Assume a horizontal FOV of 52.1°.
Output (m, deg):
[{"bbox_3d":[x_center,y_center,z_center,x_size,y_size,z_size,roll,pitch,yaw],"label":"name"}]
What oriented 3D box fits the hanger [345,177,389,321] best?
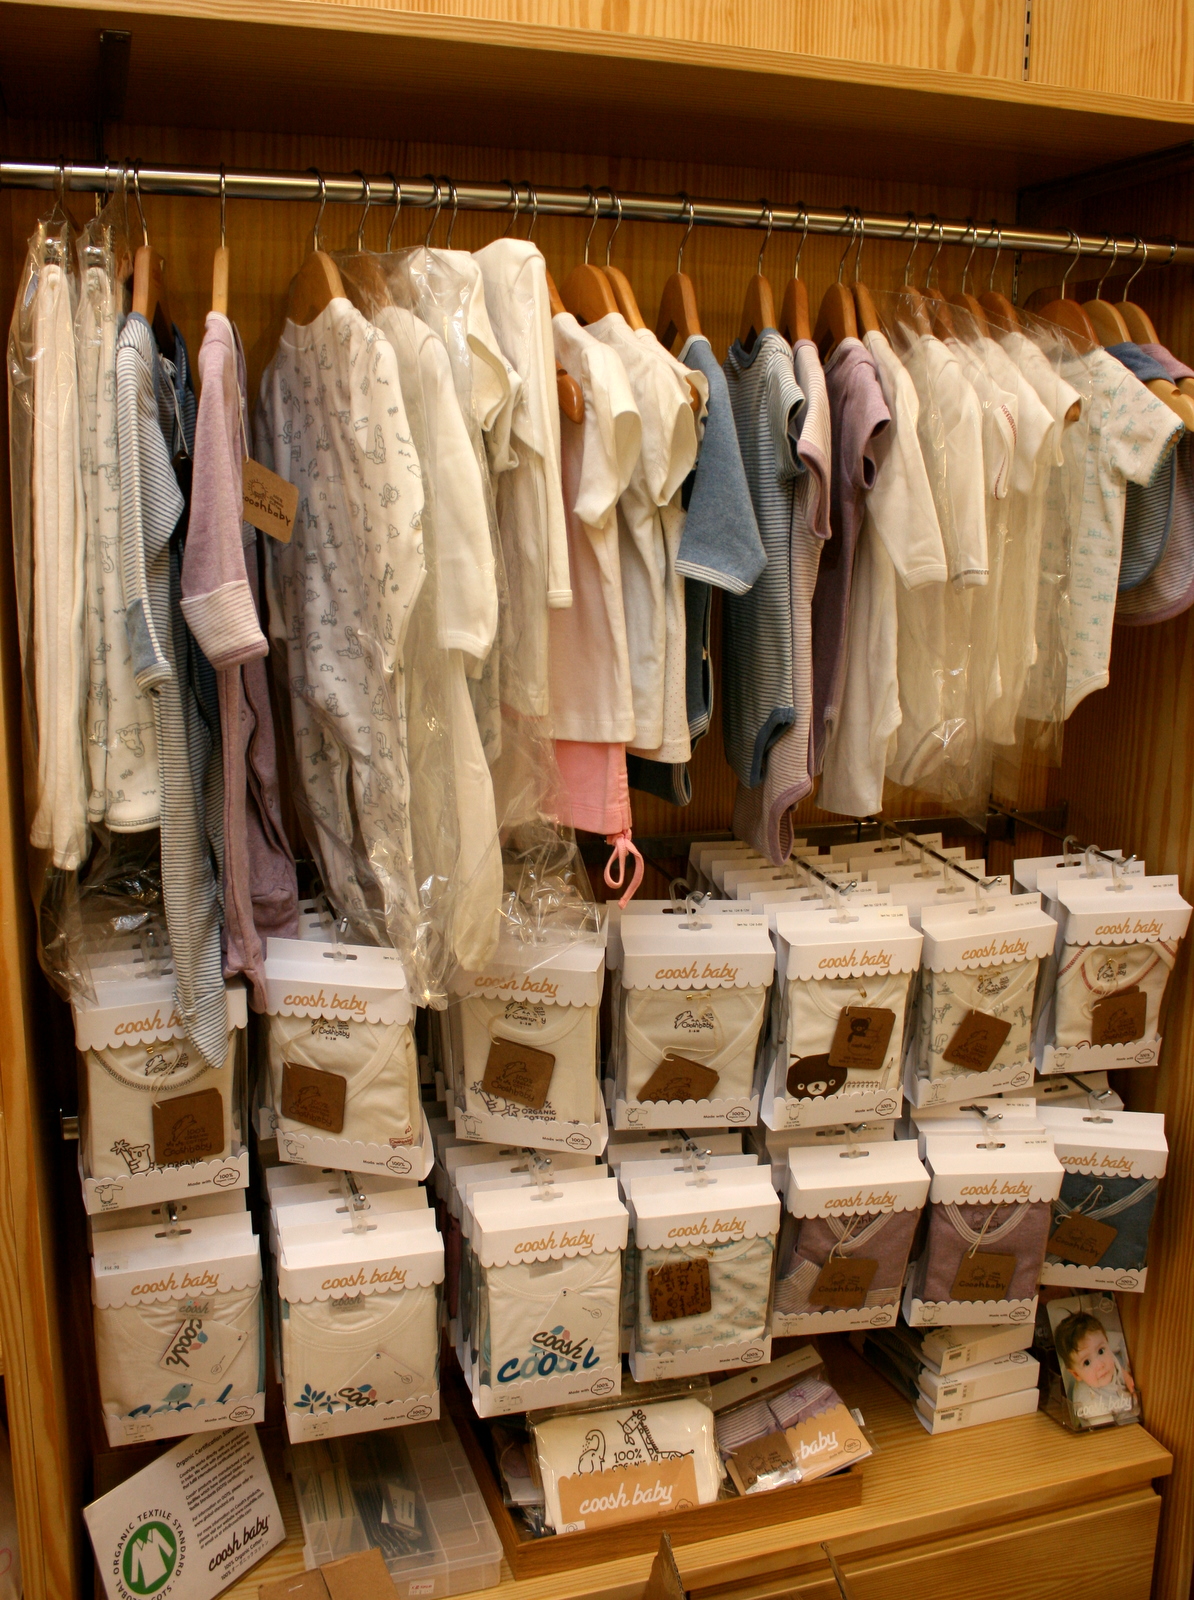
[{"bbox_3d":[-0.239,-0.563,1.261,0.007,0.118,0.058,-18,26,-37],"label":"hanger"}]
